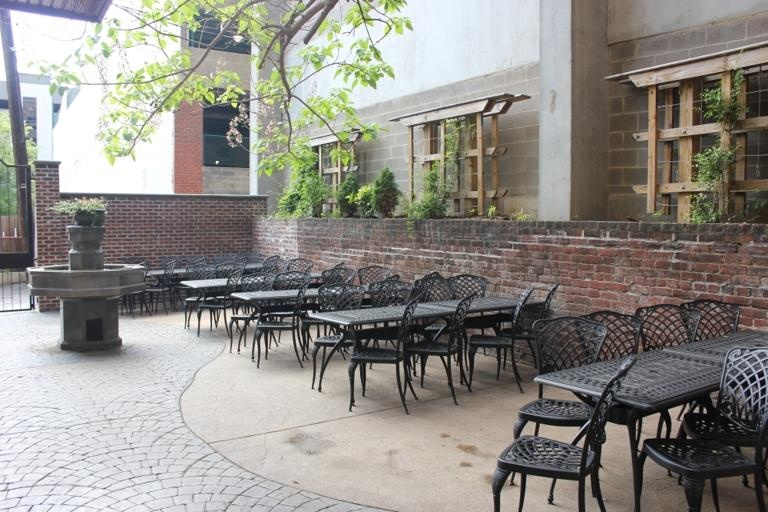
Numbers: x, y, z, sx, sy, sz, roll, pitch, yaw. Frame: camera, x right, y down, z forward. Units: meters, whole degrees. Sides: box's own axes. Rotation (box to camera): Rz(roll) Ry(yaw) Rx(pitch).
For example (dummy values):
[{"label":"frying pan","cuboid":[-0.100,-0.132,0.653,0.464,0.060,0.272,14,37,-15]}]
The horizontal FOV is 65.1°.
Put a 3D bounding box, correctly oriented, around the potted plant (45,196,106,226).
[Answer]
[{"label":"potted plant","cuboid":[-4.586,-0.661,9.205,0.516,0.424,0.526,-4,3,-44]}]
